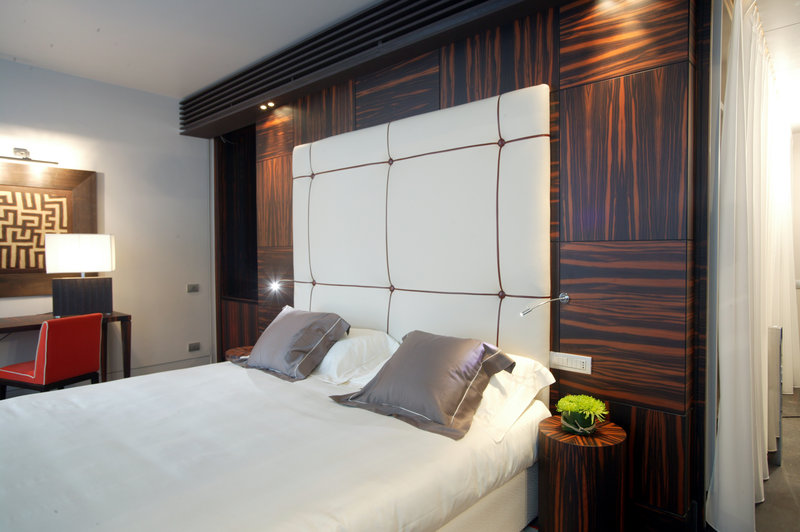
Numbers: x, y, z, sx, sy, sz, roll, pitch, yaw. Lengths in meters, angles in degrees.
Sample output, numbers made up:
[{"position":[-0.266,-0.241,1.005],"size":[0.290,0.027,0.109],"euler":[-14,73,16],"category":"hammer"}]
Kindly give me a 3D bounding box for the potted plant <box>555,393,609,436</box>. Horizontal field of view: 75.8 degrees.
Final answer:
[{"position":[1.033,0.786,2.881],"size":[0.221,0.165,0.230],"euler":[-1,2,-43],"category":"potted plant"}]
